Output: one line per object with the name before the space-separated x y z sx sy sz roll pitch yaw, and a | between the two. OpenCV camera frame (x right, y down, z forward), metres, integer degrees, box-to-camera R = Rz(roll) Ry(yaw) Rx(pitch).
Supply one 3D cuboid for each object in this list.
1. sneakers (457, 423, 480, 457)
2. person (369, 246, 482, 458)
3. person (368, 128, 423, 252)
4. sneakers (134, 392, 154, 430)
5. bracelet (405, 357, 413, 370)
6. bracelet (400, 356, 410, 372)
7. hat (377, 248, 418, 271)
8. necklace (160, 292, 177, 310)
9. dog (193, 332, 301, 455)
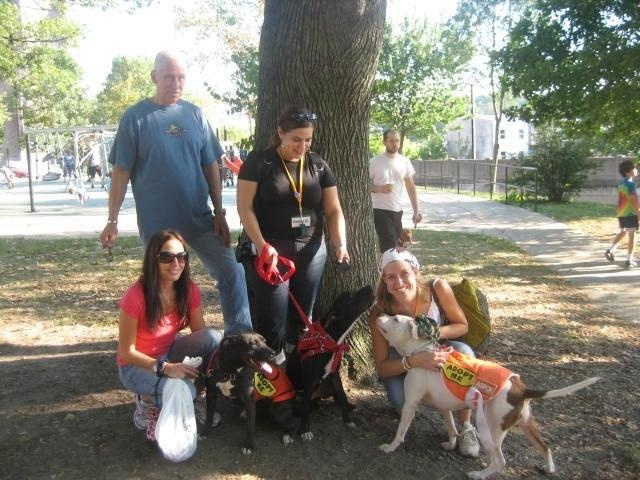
sneakers | 1.122 1.509 3.724 0.141 0.173 0.393 -3 1 10
person | 0.889 0.903 4.042 1.107 1.717 0.646 -1 9 -19
person | 1.092 -0.717 7.376 0.746 1.873 1.197 3 11 20
sneakers | -1.390 1.373 3.859 0.122 0.151 0.333 36 3 -31
bracelet | 0.634 0.913 3.604 0.057 0.083 0.077 -10 3 -42
bracelet | 0.626 0.919 3.612 0.058 0.082 0.079 -31 33 -8
hat | 0.613 0.162 3.841 0.286 0.183 0.220 1 11 6
necklace | -1.170 0.489 3.805 0.098 0.118 0.116 0 -2 -22
dog | -0.557 1.099 3.698 0.717 0.886 0.425 -1 10 -5
